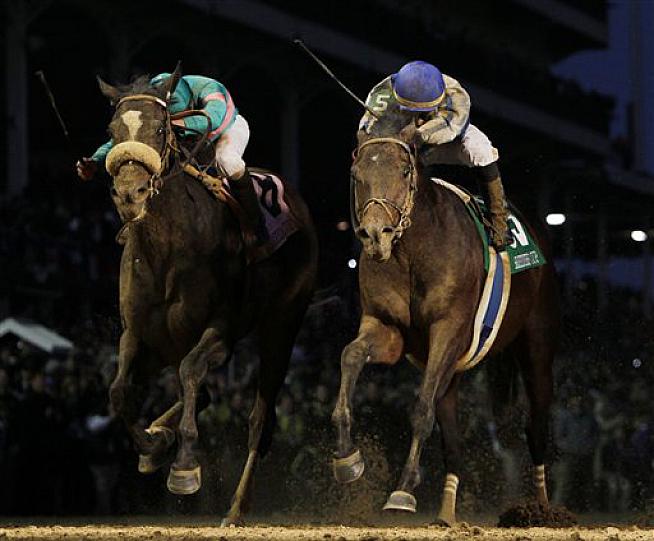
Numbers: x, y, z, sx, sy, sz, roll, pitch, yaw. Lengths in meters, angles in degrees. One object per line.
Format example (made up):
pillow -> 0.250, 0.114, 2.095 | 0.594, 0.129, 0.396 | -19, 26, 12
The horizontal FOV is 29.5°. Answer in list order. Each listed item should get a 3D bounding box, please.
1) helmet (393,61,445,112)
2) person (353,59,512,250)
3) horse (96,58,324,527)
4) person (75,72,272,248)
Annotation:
helmet -> 0.577, -1.135, 7.638 | 0.285, 0.312, 0.173 | 0, -22, 0
person -> 0.712, -0.841, 8.222 | 0.793, 0.577, 1.725 | 15, -10, 29
horse -> -0.856, 0.215, 8.189 | 0.644, 2.890, 1.829 | 0, -6, 32
person -> -0.915, -0.868, 8.440 | 0.956, 0.978, 1.691 | -8, -10, 19
